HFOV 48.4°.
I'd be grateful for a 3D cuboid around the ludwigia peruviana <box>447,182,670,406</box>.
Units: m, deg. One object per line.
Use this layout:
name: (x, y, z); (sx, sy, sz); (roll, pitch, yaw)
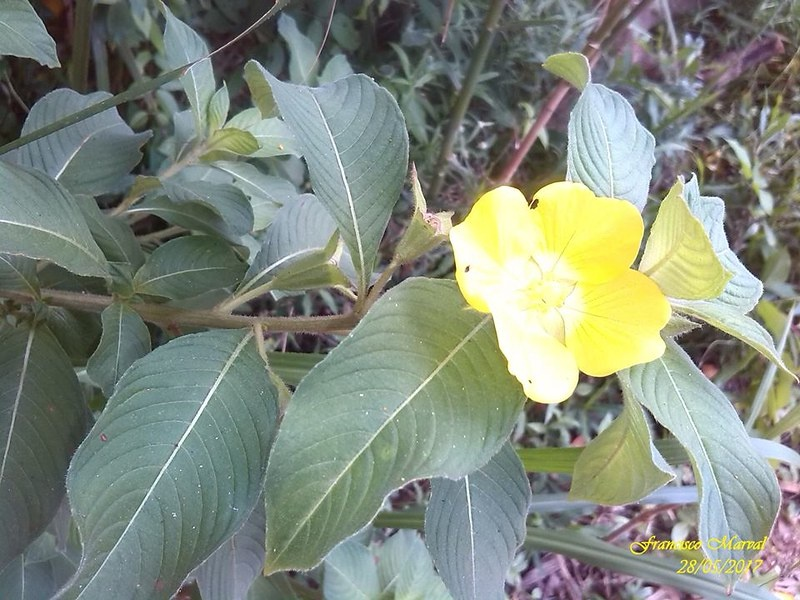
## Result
ludwigia peruviana: (0.213, -0.046, 1.435); (0.111, 0.306, 0.303); (41, -42, -12)
